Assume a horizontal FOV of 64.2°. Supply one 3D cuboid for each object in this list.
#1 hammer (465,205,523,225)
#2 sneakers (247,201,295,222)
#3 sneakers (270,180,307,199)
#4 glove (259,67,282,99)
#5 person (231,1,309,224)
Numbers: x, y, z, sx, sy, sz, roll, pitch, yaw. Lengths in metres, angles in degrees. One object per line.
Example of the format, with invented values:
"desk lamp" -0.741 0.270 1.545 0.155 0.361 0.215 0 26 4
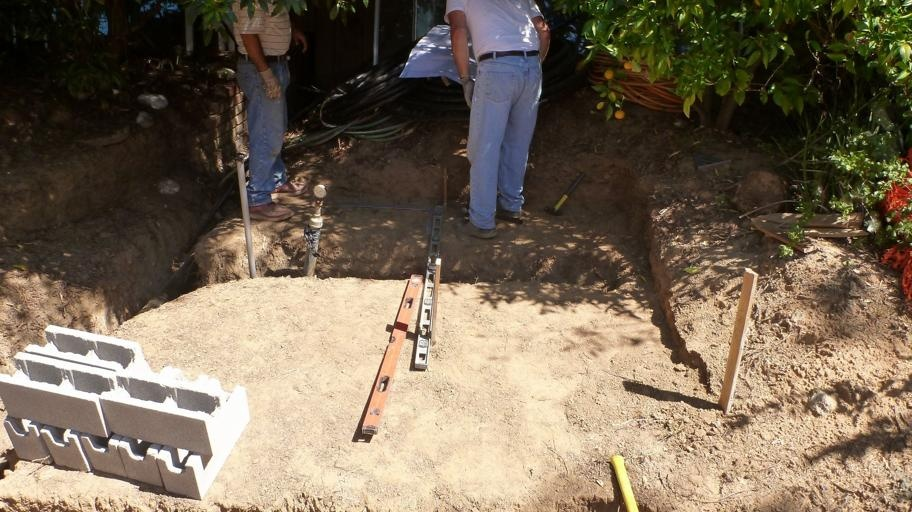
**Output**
"hammer" 0.443 -0.502 8.563 0.732 0.293 0.251 -1 25 -1
"sneakers" -2.156 -0.515 8.466 0.500 0.200 0.203 -2 31 -3
"sneakers" -2.039 -0.848 8.969 0.506 0.191 0.175 -8 32 -9
"glove" -2.055 -1.931 8.006 0.186 0.334 0.212 -12 47 -13
"person" -2.239 -1.631 8.545 0.866 3.338 1.316 4 43 -10
